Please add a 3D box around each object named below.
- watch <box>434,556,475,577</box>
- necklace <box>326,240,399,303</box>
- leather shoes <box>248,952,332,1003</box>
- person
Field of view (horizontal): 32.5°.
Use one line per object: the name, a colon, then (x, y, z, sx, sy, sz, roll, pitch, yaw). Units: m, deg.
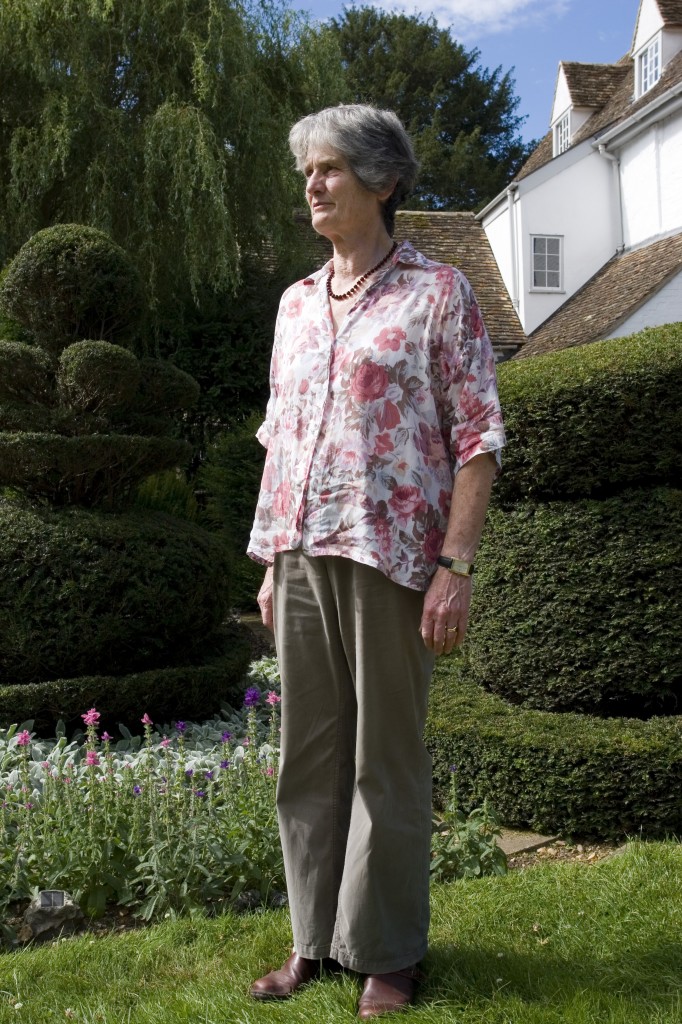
watch: (0.240, 0.119, 2.591, 0.058, 0.019, 0.054, 19, -3, -32)
necklace: (0.077, -0.553, 2.763, 0.032, 0.167, 0.135, 31, 7, -25)
leather shoes: (-0.120, 1.076, 2.674, 0.067, 0.070, 0.197, -21, -22, 36)
person: (0.060, 0.070, 2.686, 0.650, 2.043, 0.388, -3, -2, 14)
